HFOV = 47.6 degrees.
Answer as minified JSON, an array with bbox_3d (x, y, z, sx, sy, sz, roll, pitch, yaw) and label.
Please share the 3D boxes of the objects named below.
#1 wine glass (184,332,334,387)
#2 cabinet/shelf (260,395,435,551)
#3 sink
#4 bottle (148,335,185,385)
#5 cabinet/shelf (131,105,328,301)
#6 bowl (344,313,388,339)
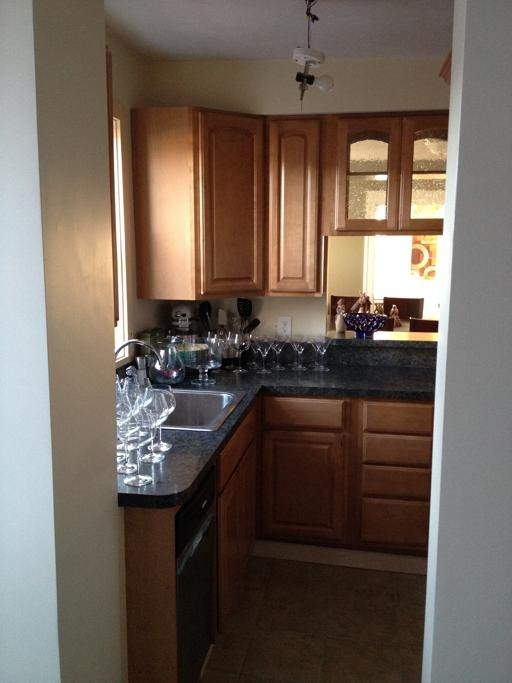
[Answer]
[{"bbox_3d":[0.086,0.061,3.100,0.618,0.174,0.359,2,7,7],"label":"wine glass"},{"bbox_3d":[0.437,0.573,2.648,0.745,0.712,0.254,1,2,14],"label":"cabinet/shelf"},{"bbox_3d":[-0.255,0.288,2.428,0.213,0.175,0.219,1,5,7],"label":"sink"},{"bbox_3d":[-0.388,0.075,2.476,0.166,0.246,0.172,-1,8,0],"label":"bottle"},{"bbox_3d":[-0.153,-0.713,2.812,0.820,0.836,0.421,-10,14,-43],"label":"cabinet/shelf"},{"bbox_3d":[0.589,-0.107,3.135,0.155,0.109,0.162,1,7,0],"label":"bowl"}]
